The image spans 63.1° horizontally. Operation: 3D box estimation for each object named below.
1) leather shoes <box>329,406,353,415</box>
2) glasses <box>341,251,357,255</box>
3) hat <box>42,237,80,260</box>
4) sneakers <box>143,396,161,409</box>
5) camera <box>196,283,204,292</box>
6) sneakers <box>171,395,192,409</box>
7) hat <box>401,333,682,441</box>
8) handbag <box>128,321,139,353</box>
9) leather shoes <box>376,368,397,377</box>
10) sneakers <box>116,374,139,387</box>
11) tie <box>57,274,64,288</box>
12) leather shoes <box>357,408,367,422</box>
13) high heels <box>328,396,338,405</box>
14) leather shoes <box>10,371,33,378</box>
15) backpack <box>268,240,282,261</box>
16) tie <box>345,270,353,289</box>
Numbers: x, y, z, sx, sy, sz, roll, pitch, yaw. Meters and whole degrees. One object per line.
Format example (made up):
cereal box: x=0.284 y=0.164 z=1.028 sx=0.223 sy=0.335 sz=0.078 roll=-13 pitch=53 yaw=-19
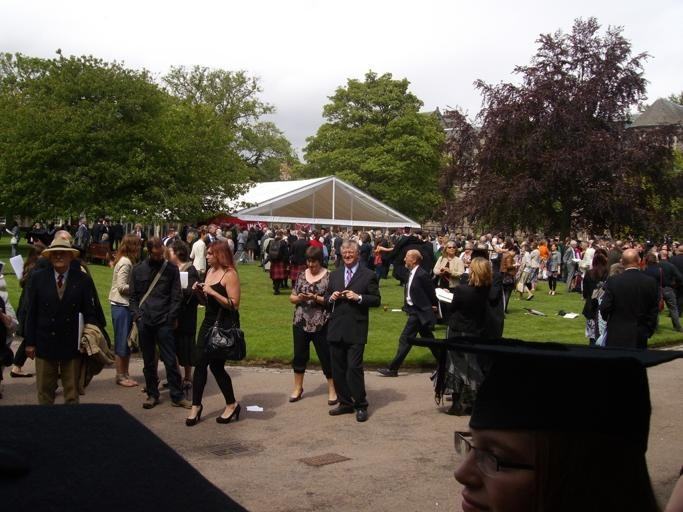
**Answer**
leather shoes: x=0.013 y=2.036 z=7.379 sx=0.344 sy=0.155 sz=0.115 roll=7 pitch=-3 yaw=-21
glasses: x=0.121 y=-0.027 z=7.678 sx=0.113 sy=0.065 sz=0.337 roll=2 pitch=2 yaw=40
hat: x=-3.124 y=-0.090 z=6.196 sx=0.372 sy=0.223 sz=0.488 roll=-1 pitch=2 yaw=-29
sneakers: x=-2.562 y=1.981 z=7.511 sx=0.097 sy=0.125 sz=0.300 roll=1 pitch=-13 yaw=5
camera: x=-1.780 y=0.392 z=6.992 sx=0.079 sy=0.113 sz=0.034 roll=9 pitch=-33 yaw=-29
sneakers: x=-2.157 y=1.979 z=7.541 sx=0.304 sy=0.132 sz=0.135 roll=1 pitch=1 yaw=13
hat: x=0.606 y=0.334 z=1.635 sx=0.487 sy=0.193 sz=0.431 roll=0 pitch=-3 yaw=26
handbag: x=-3.092 y=1.222 z=8.273 sx=0.152 sy=0.494 sz=0.473 roll=0 pitch=2 yaw=-21
leather shoes: x=0.797 y=1.989 z=9.610 sx=0.350 sy=0.165 sz=0.280 roll=0 pitch=2 yaw=5
sneakers: x=-3.296 y=1.900 z=8.522 sx=0.387 sy=0.148 sz=0.187 roll=0 pitch=2 yaw=0
tie: x=-3.104 y=0.281 z=6.144 sx=0.044 sy=0.159 sz=0.022 roll=4 pitch=2 yaw=-13
leather shoes: x=0.264 y=2.012 z=7.082 sx=0.148 sy=0.136 sz=0.244 roll=0 pitch=2 yaw=0
high heels: x=-0.118 y=2.024 z=7.734 sx=0.131 sy=0.075 sz=0.161 roll=0 pitch=2 yaw=-1
leather shoes: x=-5.087 y=1.884 z=8.873 sx=0.341 sy=0.112 sz=0.130 roll=-2 pitch=-2 yaw=-3
backpack: x=-2.371 y=-0.172 z=19.987 sx=0.534 sy=0.471 sz=0.862 roll=-1 pitch=39 yaw=2
tie: x=0.107 y=0.316 z=7.610 sx=0.121 sy=0.229 sz=0.124 roll=0 pitch=2 yaw=-22
